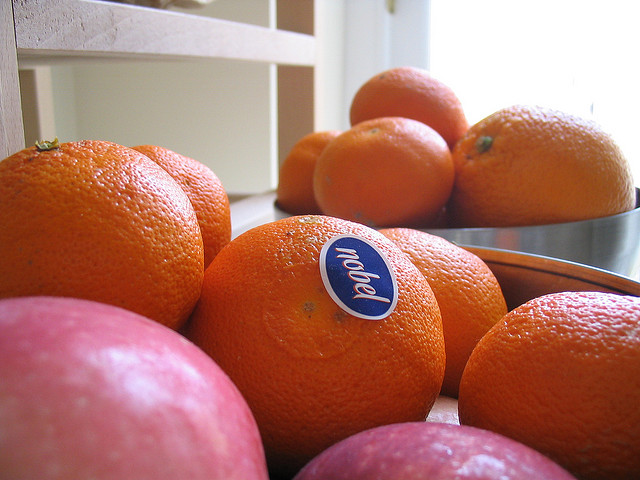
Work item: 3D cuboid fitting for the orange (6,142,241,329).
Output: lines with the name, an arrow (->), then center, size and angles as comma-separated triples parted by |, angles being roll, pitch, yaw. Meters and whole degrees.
orange -> -0.153, 0.013, 0.443 | 0.137, 0.159, 0.136 | 31, 39, 32

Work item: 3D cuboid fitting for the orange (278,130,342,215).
orange -> -0.011, -0.081, 0.719 | 0.076, 0.112, 0.080 | 4, -1, -23

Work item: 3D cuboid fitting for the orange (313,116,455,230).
orange -> 0.082, -0.090, 0.651 | 0.121, 0.131, 0.123 | 11, -16, 34

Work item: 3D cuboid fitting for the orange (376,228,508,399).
orange -> 0.113, 0.072, 0.531 | 0.120, 0.163, 0.120 | 3, -12, -29

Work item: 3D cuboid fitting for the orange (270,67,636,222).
orange -> 0.154, -0.073, 0.654 | 0.340, 0.189, 0.213 | 2, 1, -6
